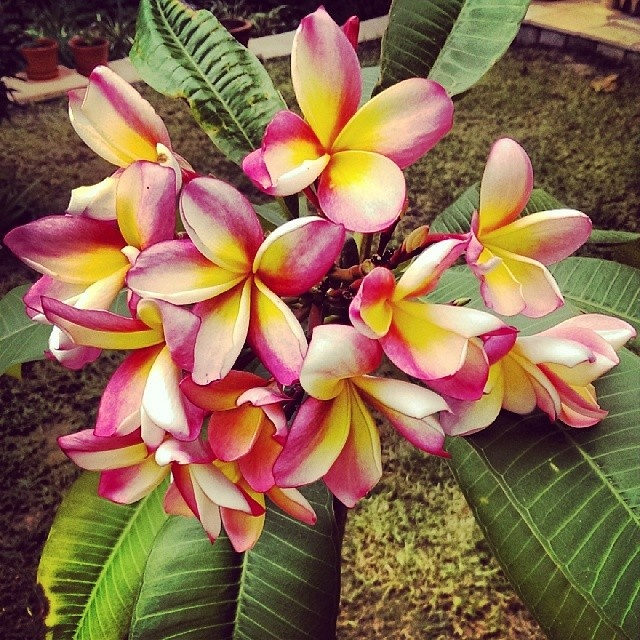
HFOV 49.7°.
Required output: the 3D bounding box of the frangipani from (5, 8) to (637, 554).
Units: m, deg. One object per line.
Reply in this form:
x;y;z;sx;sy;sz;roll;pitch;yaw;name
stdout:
0.021;0.018;1.028;0.711;0.306;0.668;-36;72;-14;frangipani
